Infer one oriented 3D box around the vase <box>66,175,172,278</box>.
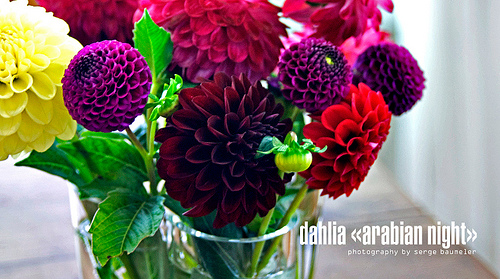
[{"bbox_3d":[-0.172,0.116,0.533,0.079,0.121,0.083,19,55,13],"label":"vase"}]
